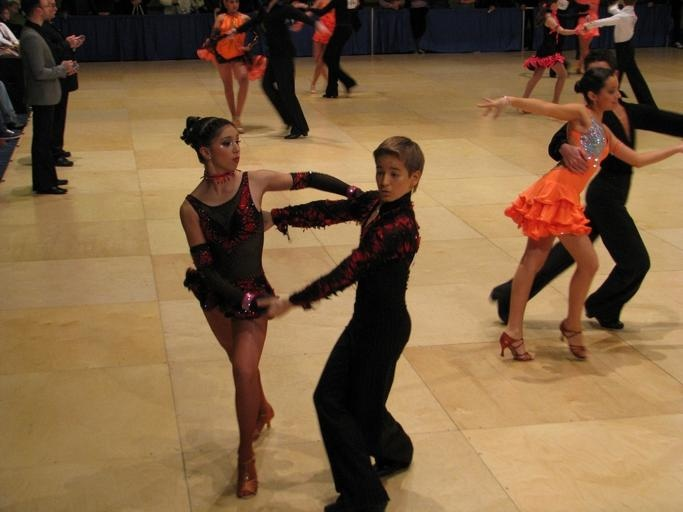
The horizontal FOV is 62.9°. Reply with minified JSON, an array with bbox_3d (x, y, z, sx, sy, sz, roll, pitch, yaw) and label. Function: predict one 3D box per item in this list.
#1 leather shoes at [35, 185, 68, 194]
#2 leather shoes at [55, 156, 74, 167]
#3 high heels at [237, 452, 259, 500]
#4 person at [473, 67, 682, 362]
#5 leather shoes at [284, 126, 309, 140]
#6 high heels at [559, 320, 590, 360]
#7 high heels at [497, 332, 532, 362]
[{"bbox_3d":[-3.815,-0.872,7.398,0.448,0.155,0.150,-3,10,-6],"label":"leather shoes"},{"bbox_3d":[-4.180,-1.446,8.486,0.255,0.142,0.330,0,18,1],"label":"leather shoes"},{"bbox_3d":[-0.473,1.101,2.776,0.093,0.100,0.248,-3,3,-2],"label":"high heels"},{"bbox_3d":[1.546,-0.266,3.910,1.204,1.999,0.626,-14,24,-32],"label":"person"},{"bbox_3d":[-0.879,-2.179,9.967,0.611,0.248,0.188,0,19,-3],"label":"leather shoes"},{"bbox_3d":[1.692,0.626,4.085,0.140,0.329,0.093,-24,-8,-8],"label":"high heels"},{"bbox_3d":[1.233,0.650,4.040,0.324,0.206,0.136,5,14,4],"label":"high heels"}]
